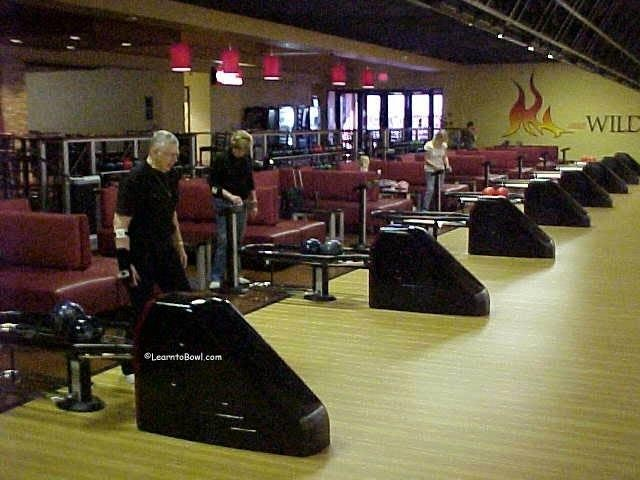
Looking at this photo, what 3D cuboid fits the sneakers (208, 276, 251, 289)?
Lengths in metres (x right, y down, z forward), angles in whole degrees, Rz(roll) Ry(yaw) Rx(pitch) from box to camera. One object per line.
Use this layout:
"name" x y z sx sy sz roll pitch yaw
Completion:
"sneakers" -1.013 0.489 5.716 0.495 0.210 0.170 -2 2 10

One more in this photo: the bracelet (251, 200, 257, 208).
"bracelet" -0.712 -0.371 5.521 0.048 0.066 0.022 3 -1 7

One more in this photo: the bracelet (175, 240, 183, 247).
"bracelet" -1.076 0.032 3.965 0.032 0.042 0.043 -7 21 -24

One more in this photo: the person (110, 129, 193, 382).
"person" -1.168 -0.109 3.578 0.484 1.244 0.234 -5 10 -25
